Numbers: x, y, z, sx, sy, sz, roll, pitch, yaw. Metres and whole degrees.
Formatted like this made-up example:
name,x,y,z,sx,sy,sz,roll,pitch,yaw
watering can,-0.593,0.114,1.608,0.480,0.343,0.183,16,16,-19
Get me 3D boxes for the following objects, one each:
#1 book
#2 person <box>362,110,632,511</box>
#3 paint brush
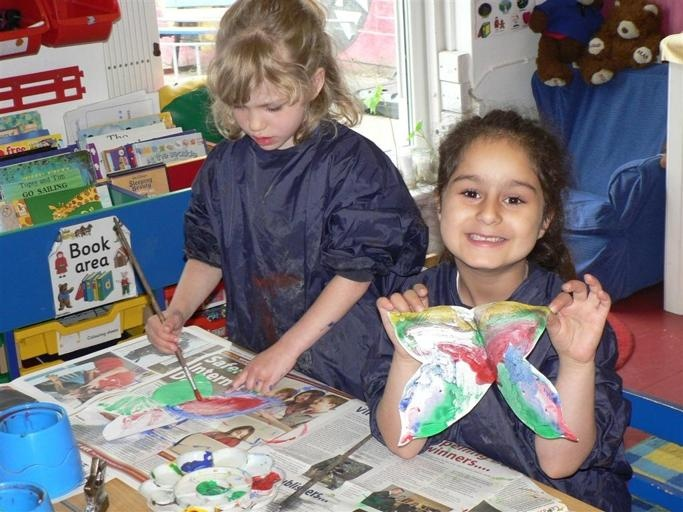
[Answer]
name,x,y,z,sx,sy,sz,roll,pitch,yaw
book,-0.877,-0.333,2.106,0.553,0.161,0.393,-24,26,-7
person,0.334,0.064,1.065,0.496,0.231,0.736,0,57,16
paint brush,-0.494,0.114,1.522,0.025,0.490,0.057,-26,5,6
